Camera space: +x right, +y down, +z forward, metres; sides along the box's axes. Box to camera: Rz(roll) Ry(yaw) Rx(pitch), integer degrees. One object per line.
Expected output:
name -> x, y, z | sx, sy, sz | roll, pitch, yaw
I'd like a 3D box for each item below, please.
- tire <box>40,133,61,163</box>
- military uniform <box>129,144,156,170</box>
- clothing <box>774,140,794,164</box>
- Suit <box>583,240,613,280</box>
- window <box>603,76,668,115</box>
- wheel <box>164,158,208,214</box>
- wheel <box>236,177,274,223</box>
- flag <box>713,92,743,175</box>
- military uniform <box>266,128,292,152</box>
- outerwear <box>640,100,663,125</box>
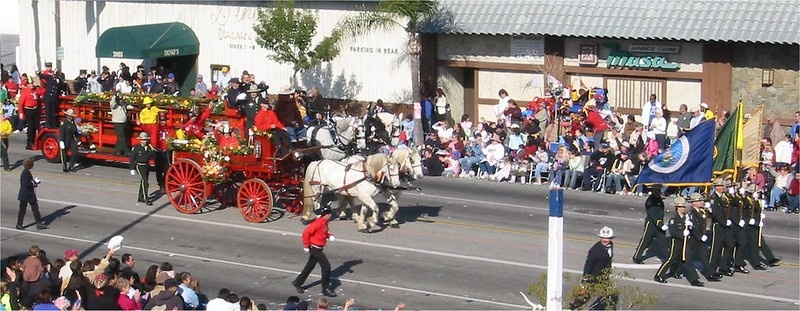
tire -> -22.894, -0.599, 71.668 | 1.960, 1.635, 0.660 | 15, 13, 39
military uniform -> -15.992, 0.043, 67.756 | 1.998, 1.389, 0.908 | 2, -3, -35
clothing -> 24.497, -0.163, 69.542 | 1.673, 1.475, 0.896 | 3, -8, 29
Suit -> 11.002, 5.839, 60.282 | 2.657, 2.008, 1.224 | -5, 9, -33
window -> 16.368, -4.153, 75.109 | 3.520, 1.796, 0.167 | 2, 6, 16
wheel -> -12.974, 1.844, 66.734 | 3.744, 3.034, 1.074 | 7, 11, 31
wheel -> -8.711, 2.664, 66.001 | 2.753, 2.270, 0.874 | 17, 11, 28
flag -> 19.454, -1.005, 64.332 | 1.748, 4.279, 0.806 | 2, 9, -4
military uniform -> -7.309, -0.988, 65.894 | 1.052, 1.562, 0.548 | -22, 8, -14
outerwear -> 16.985, -2.855, 73.338 | 2.039, 1.788, 1.113 | 6, 1, 18
